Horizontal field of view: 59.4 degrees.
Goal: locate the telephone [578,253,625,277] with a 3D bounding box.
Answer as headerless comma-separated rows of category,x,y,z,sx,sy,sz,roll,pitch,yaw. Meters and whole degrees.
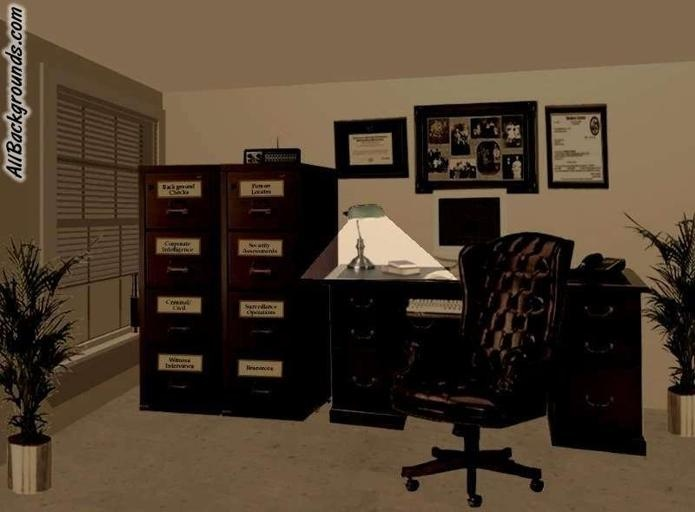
telephone,1.719,0.069,4.112,0.206,0.060,0.211,2,11,36

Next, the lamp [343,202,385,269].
lamp,0.106,-0.168,4.631,0.265,0.502,0.446,-5,15,-17

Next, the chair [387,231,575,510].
chair,0.770,0.641,3.558,0.909,1.483,0.657,5,15,21

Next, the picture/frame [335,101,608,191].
picture/frame,0.951,-0.819,4.655,1.999,0.675,0.149,2,14,8

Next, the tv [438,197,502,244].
tv,0.905,-0.251,4.512,0.363,0.363,0.091,2,4,17

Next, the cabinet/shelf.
cabinet/shelf,-0.910,0.241,4.396,1.253,1.766,0.360,2,14,8
